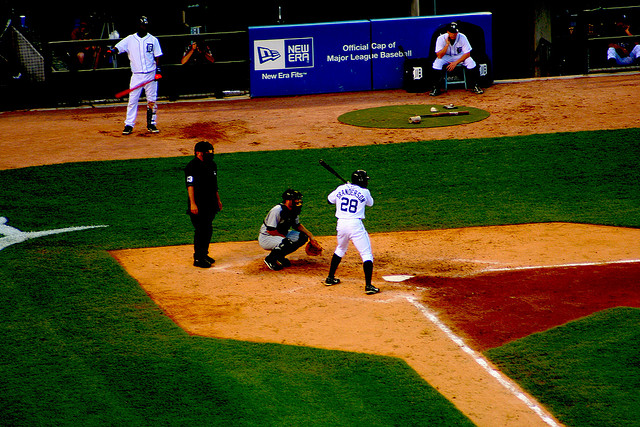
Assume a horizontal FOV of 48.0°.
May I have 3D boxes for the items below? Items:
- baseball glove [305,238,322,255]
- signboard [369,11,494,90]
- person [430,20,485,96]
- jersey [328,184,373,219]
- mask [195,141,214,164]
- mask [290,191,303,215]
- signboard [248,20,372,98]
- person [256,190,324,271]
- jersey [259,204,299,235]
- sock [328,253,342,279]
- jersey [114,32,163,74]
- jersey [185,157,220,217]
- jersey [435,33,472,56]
[{"bbox_3d":[-0.122,0.597,12.629,0.235,0.326,0.267,-7,18,-8],"label":"baseball glove"},{"bbox_3d":[3.553,-4.893,22.143,0.576,2.231,5.355,-19,21,-32],"label":"signboard"},{"bbox_3d":[4.076,-4.534,21.430,1.494,2.108,1.487,3,20,20],"label":"person"},{"bbox_3d":[0.538,-0.170,12.384,1.221,0.566,0.509,3,15,15],"label":"jersey"},{"bbox_3d":[-2.008,-1.038,12.491,0.301,0.373,0.265,-6,19,-8],"label":"mask"},{"bbox_3d":[-0.427,-0.175,12.526,0.213,0.469,0.333,-6,19,-2],"label":"mask"},{"bbox_3d":[-0.321,-4.809,22.575,4.991,1.472,0.392,-1,14,-3],"label":"signboard"},{"bbox_3d":[-0.671,0.285,12.639,0.862,1.468,0.544,-10,22,-15],"label":"person"},{"bbox_3d":[-0.859,0.125,12.631,0.440,0.516,0.248,-6,20,-6],"label":"jersey"},{"bbox_3d":[0.239,0.873,12.063,0.240,0.483,0.376,-5,18,-1],"label":"sock"},{"bbox_3d":[-4.716,-4.044,18.270,0.543,0.994,1.627,24,28,26],"label":"jersey"},{"bbox_3d":[-2.081,-0.441,12.489,0.357,1.047,0.608,6,22,26],"label":"jersey"},{"bbox_3d":[3.922,-4.900,21.075,1.826,0.683,0.592,1,26,5],"label":"jersey"}]
